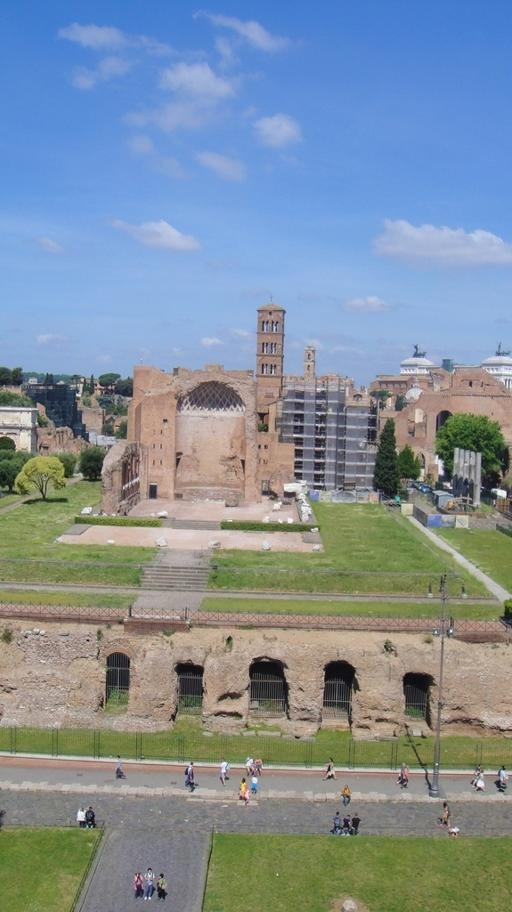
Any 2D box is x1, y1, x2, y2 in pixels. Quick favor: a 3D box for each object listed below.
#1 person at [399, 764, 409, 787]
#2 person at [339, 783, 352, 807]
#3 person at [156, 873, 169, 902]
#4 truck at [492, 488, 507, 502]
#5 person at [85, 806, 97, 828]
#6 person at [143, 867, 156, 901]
[{"bbox_3d":[6.244,13.381,46.995,0.414,0.808,1.349,1,4,7],"label":"person"},{"bbox_3d":[3.681,13.734,45.265,0.435,0.728,0.830,1,4,4],"label":"person"},{"bbox_3d":[-3.268,15.052,39.156,0.414,0.698,0.933,0,4,-6],"label":"person"},{"bbox_3d":[23.826,3.773,108.674,1.062,1.261,1.891,3,3,13],"label":"truck"},{"bbox_3d":[-6.321,13.896,42.938,0.410,0.591,0.779,0,4,-11],"label":"person"},{"bbox_3d":[-3.698,14.918,39.020,0.345,0.956,0.730,0,4,-5],"label":"person"}]
